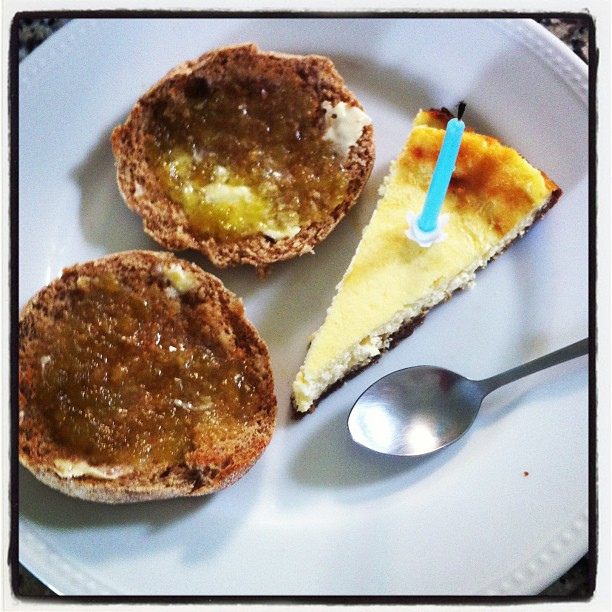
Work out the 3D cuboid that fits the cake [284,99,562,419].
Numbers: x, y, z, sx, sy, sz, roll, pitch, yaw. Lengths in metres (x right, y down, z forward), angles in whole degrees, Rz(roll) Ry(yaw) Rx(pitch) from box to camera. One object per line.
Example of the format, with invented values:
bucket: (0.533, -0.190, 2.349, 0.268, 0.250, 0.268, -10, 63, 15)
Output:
cake: (0.275, -0.126, 2.249, 0.477, 0.245, 0.829, 40, 88, 8)
